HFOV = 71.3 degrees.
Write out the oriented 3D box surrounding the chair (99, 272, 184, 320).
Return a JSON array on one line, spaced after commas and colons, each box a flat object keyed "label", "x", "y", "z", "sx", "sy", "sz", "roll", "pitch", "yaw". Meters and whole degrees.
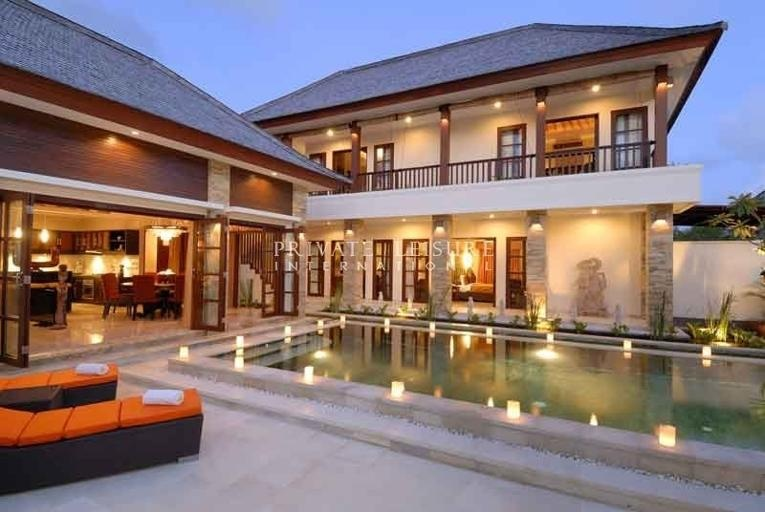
[{"label": "chair", "x": -6.320, "y": 1.045, "z": 14.026, "sx": 1.699, "sy": 0.728, "sz": 1.665, "roll": 1, "pitch": -1, "yaw": 16}]
